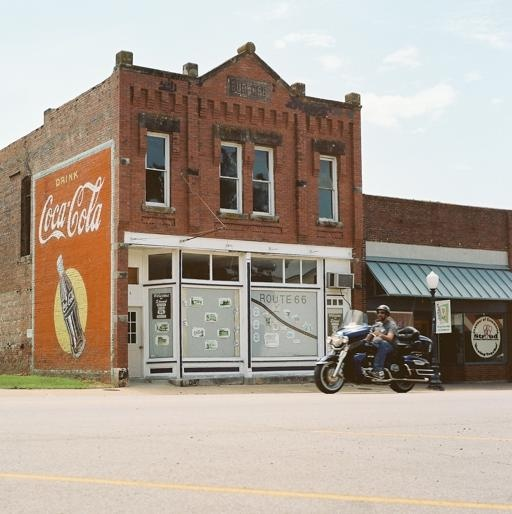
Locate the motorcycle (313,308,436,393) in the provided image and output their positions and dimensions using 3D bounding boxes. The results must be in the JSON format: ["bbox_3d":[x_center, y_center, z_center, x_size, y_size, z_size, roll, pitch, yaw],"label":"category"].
[{"bbox_3d":[2.475,1.946,17.923,2.934,1.526,1.145,4,-4,-32],"label":"motorcycle"}]

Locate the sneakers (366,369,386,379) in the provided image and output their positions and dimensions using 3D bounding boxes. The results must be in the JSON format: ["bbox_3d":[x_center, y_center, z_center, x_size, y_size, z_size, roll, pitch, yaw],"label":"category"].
[{"bbox_3d":[2.376,2.298,17.247,0.305,0.124,0.181,10,-11,-29],"label":"sneakers"}]
